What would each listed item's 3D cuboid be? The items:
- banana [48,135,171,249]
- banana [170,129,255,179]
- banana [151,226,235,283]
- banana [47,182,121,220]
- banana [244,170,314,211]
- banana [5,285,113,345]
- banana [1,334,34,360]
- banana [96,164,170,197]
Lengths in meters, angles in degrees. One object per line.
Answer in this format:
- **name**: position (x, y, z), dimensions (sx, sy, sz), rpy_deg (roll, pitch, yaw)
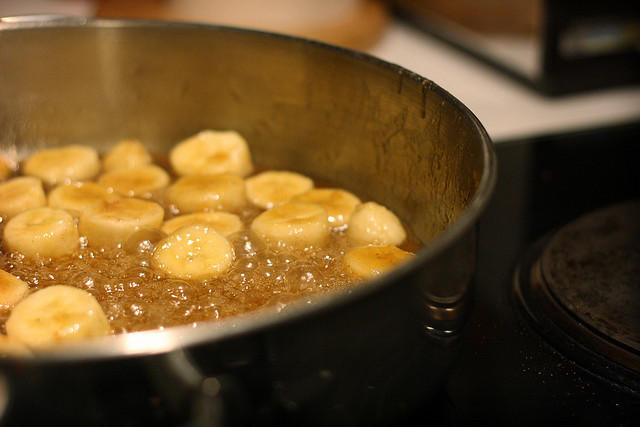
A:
- **banana**: position (-0.372, -0.037, 1.085), dimensions (0.192, 0.047, 0.193), rpy_deg (-17, 39, -34)
- **banana**: position (-0.222, -0.121, 1.183), dimensions (0.126, 0.137, 0.034), rpy_deg (-8, 74, -46)
- **banana**: position (-0.204, 0.064, 0.941), dimensions (0.124, 0.028, 0.095), rpy_deg (-21, 53, -10)
- **banana**: position (-0.432, -0.029, 1.076), dimensions (0.083, 0.023, 0.083), rpy_deg (22, 29, 35)
- **banana**: position (-0.085, -0.048, 1.111), dimensions (0.088, 0.022, 0.087), rpy_deg (-8, 33, 2)
- **banana**: position (-0.344, 0.135, 0.791), dimensions (0.103, 0.031, 0.114), rpy_deg (12, 29, 12)
- **banana**: position (-0.297, 0.127, 0.589), dimensions (0.025, 0.009, 0.025), rpy_deg (19, -6, -26)
- **banana**: position (-0.361, -0.064, 1.132), dimensions (0.095, 0.011, 0.073), rpy_deg (-13, 44, -14)
